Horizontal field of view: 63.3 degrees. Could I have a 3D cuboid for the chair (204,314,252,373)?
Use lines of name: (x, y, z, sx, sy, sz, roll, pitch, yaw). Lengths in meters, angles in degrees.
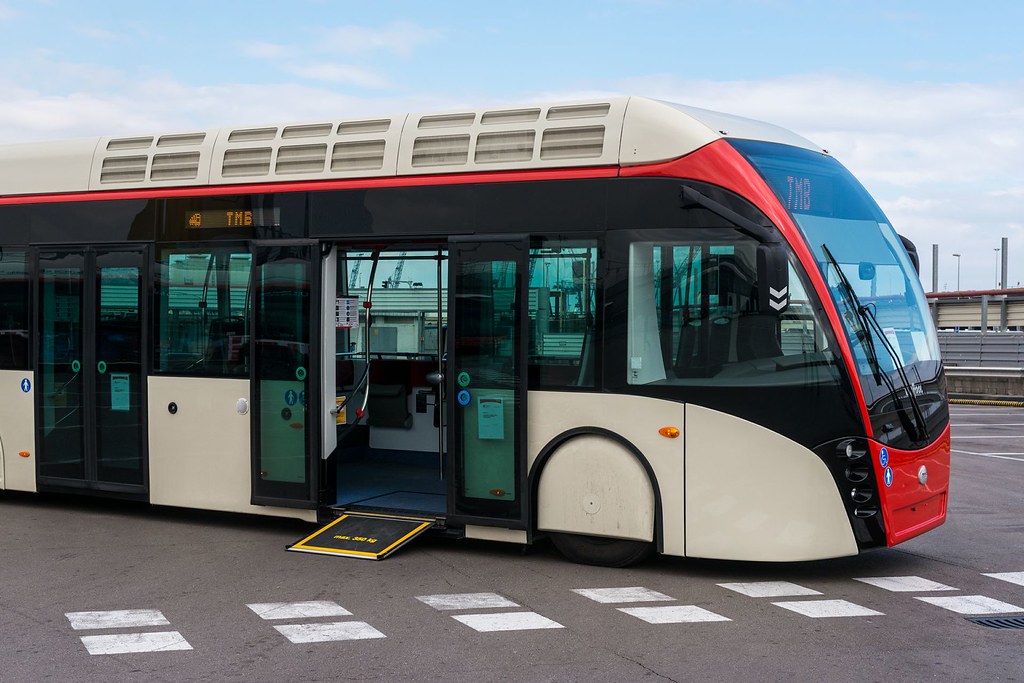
chair: (-3.176, 0.056, 9.292, 0.633, 0.655, 0.448, 5, 3, 45)
